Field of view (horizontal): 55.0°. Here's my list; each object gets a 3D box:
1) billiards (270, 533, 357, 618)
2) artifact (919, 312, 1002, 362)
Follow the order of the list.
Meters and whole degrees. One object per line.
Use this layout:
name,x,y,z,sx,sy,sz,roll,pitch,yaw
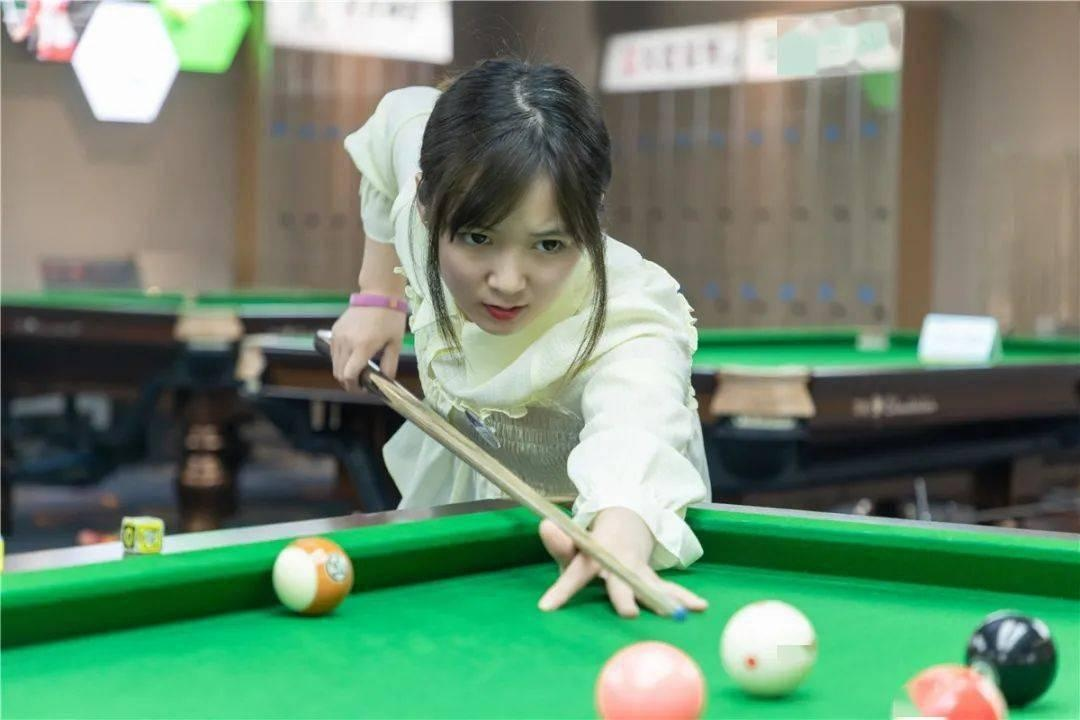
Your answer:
billiards,-0.467,0.469,2.258,0.153,0.157,0.158,9,-35,9
artifact,1.749,-0.088,4.415,0.422,0.179,0.240,-3,11,-15
